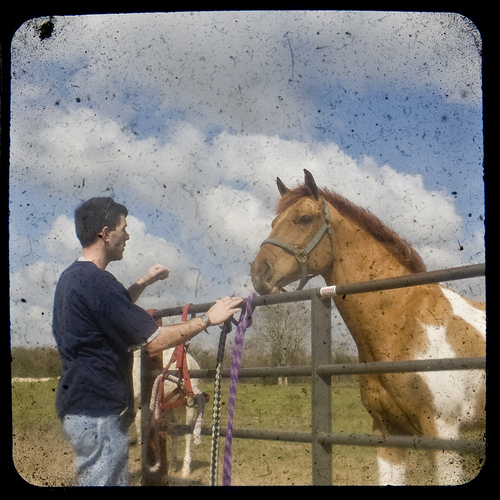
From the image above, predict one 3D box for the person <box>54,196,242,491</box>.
[{"bbox_3d":[-0.532,0.557,4.070,0.676,0.949,1.347,6,65,9],"label":"person"}]
